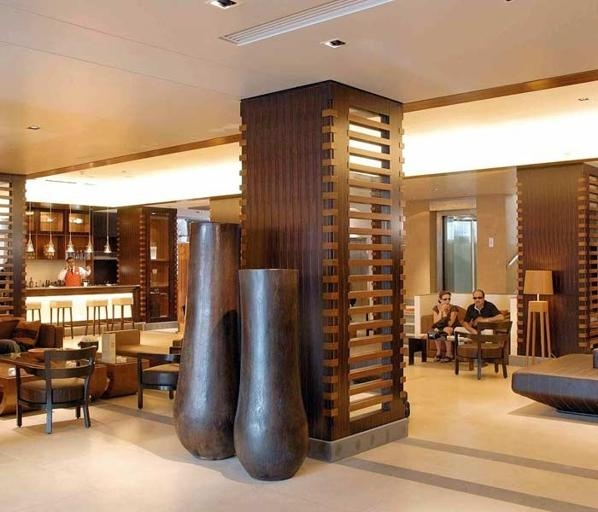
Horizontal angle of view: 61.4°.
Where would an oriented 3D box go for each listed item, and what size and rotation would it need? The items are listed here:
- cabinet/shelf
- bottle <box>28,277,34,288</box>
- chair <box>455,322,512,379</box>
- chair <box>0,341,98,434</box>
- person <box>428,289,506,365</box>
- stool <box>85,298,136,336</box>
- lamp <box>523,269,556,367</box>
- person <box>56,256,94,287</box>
[{"bbox_3d":[-4.563,0.414,15.391,1.123,3.555,1.355,1,2,36],"label":"cabinet/shelf"},{"bbox_3d":[-7.511,0.730,14.093,0.175,0.262,0.357,1,-3,-27],"label":"bottle"},{"bbox_3d":[3.167,1.572,8.567,0.835,0.961,0.810,2,-3,-36],"label":"chair"},{"bbox_3d":[-2.758,1.421,5.877,1.207,1.051,0.936,1,-1,45],"label":"chair"},{"bbox_3d":[3.071,1.316,9.087,0.664,1.185,1.227,7,-10,-29],"label":"person"},{"bbox_3d":[-4.961,1.585,13.094,0.935,0.838,0.335,0,-1,-44],"label":"stool"},{"bbox_3d":[4.169,1.039,8.738,0.454,1.580,0.400,-1,-2,26],"label":"lamp"},{"bbox_3d":[-6.457,0.435,14.384,0.789,1.565,0.492,0,-6,-33],"label":"person"}]
